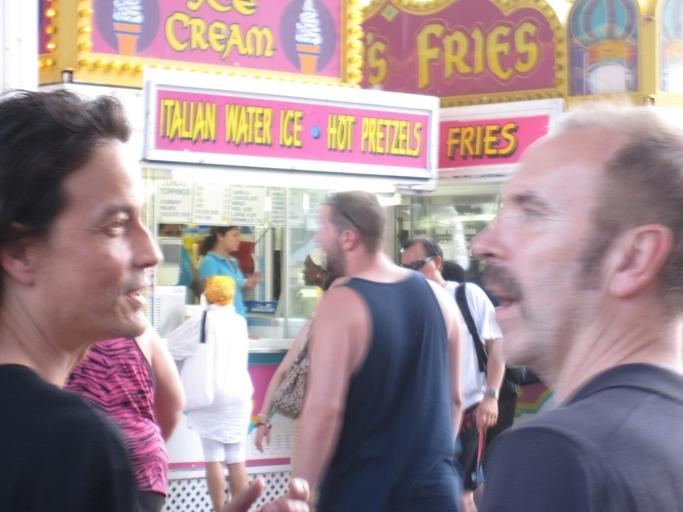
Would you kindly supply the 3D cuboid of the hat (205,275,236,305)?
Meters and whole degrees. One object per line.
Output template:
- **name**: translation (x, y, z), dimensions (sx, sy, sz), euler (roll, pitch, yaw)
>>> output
- **hat**: translation (-0.771, 0.208, 5.181), dimensions (0.157, 0.196, 0.105), euler (1, -22, -4)

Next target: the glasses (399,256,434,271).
- **glasses**: translation (0.393, 0.034, 4.055), dimensions (0.107, 0.032, 0.100), euler (-22, 3, -33)
